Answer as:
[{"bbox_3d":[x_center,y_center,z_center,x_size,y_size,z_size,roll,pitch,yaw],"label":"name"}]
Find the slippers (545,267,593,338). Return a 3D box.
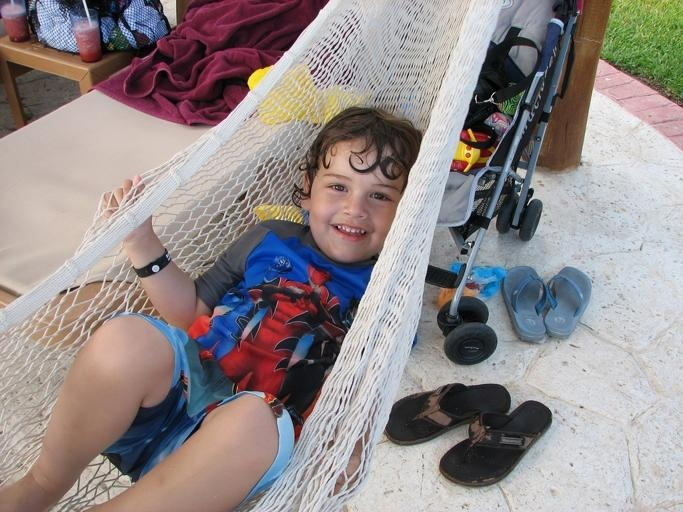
[{"bbox_3d":[0.866,0.174,2.044,0.150,0.058,0.297,20,58,16],"label":"slippers"}]

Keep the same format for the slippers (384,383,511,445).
[{"bbox_3d":[0.339,0.545,1.762,0.414,0.092,0.176,-10,40,0],"label":"slippers"}]

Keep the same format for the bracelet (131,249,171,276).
[{"bbox_3d":[-0.473,0.027,1.344,0.097,0.090,0.052,-28,93,-5],"label":"bracelet"}]

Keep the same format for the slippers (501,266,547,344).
[{"bbox_3d":[0.705,0.186,2.050,0.137,0.089,0.287,-1,47,7],"label":"slippers"}]

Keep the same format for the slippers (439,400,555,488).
[{"bbox_3d":[0.512,0.614,1.693,0.400,0.104,0.162,-31,44,-10],"label":"slippers"}]
